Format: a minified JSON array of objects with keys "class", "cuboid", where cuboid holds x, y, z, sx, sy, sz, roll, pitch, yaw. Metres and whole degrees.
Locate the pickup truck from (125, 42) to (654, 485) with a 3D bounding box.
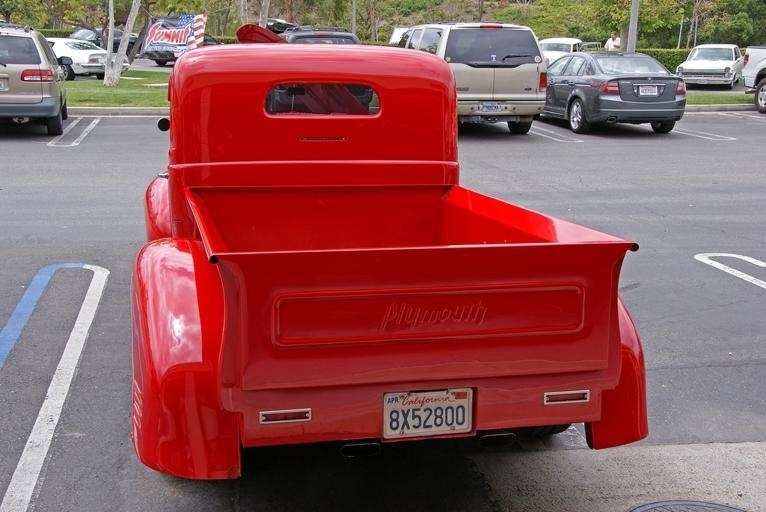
[{"class":"pickup truck","cuboid":[-0.373,-0.323,5.325,2.893,2.037,4.195,-4,19,-17]}]
